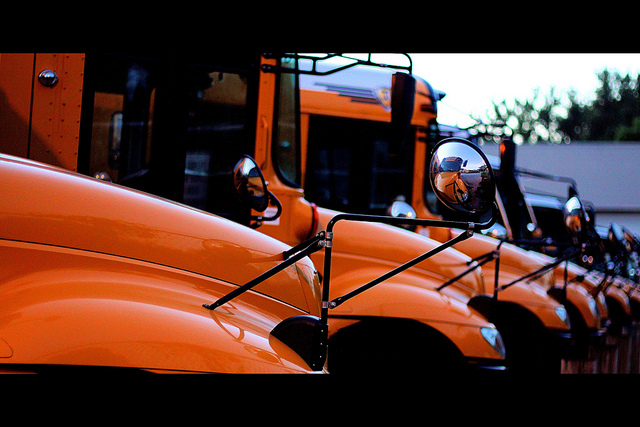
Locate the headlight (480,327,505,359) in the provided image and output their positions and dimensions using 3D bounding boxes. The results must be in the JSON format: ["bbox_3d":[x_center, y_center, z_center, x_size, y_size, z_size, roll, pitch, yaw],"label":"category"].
[{"bbox_3d":[1.312,0.954,6.101,0.276,0.144,0.071,48,-38,-10],"label":"headlight"}]

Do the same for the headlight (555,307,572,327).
[{"bbox_3d":[2.130,0.888,7.141,0.059,0.201,0.115,-31,-16,5],"label":"headlight"}]

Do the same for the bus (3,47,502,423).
[{"bbox_3d":[-0.561,0.090,5.485,3.450,2.032,2.379,1,-2,-14],"label":"bus"}]

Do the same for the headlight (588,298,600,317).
[{"bbox_3d":[2.540,0.864,7.553,0.046,0.171,0.111,-17,-15,36],"label":"headlight"}]
